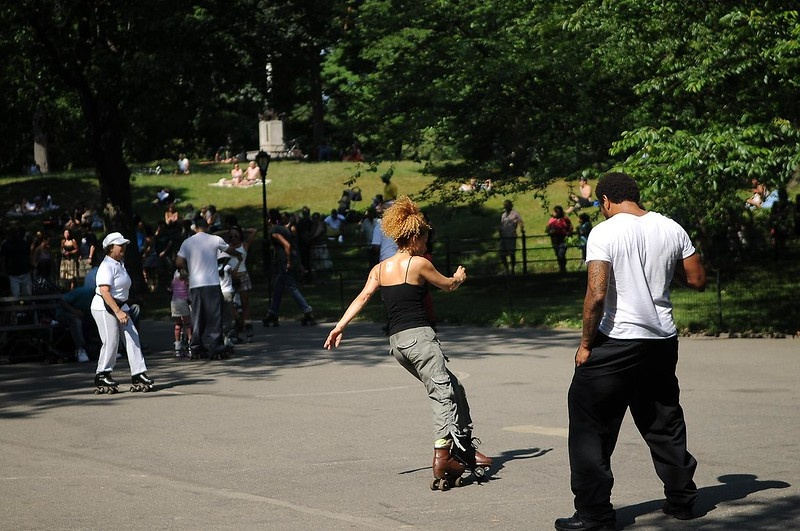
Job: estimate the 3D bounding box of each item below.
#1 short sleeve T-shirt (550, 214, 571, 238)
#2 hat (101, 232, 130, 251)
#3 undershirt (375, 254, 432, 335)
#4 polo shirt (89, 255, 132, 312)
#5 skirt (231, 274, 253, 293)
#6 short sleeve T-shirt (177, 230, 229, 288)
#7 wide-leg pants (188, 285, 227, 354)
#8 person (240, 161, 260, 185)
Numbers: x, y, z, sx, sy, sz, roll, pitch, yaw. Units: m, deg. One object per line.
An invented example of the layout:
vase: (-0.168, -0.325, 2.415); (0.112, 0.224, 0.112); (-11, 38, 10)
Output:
short sleeve T-shirt: (4.432, -1.038, 33.101); (0.706, 0.360, 0.622); (1, 43, 6)
hat: (-4.795, -0.386, 20.078); (0.564, 0.271, 0.404); (-9, 1, 28)
undershirt: (0.114, 0.563, 15.896); (0.652, 0.759, 0.457); (-10, -26, -5)
polo shirt: (-4.667, 0.248, 19.933); (0.776, 1.039, 1.257); (0, 2, 3)
skirt: (-3.160, 0.351, 24.261); (0.571, 0.463, 0.312); (-1, 8, -9)
short sleeve T-shirt: (-3.624, -0.053, 22.384); (1.226, 1.100, 0.654); (-2, 1, -2)
wide-leg pants: (-3.560, 1.069, 22.346); (0.643, 1.423, 0.379); (2, 15, 8)
person: (-6.799, -4.233, 55.122); (0.817, 0.949, 2.690); (-2, 14, -7)
